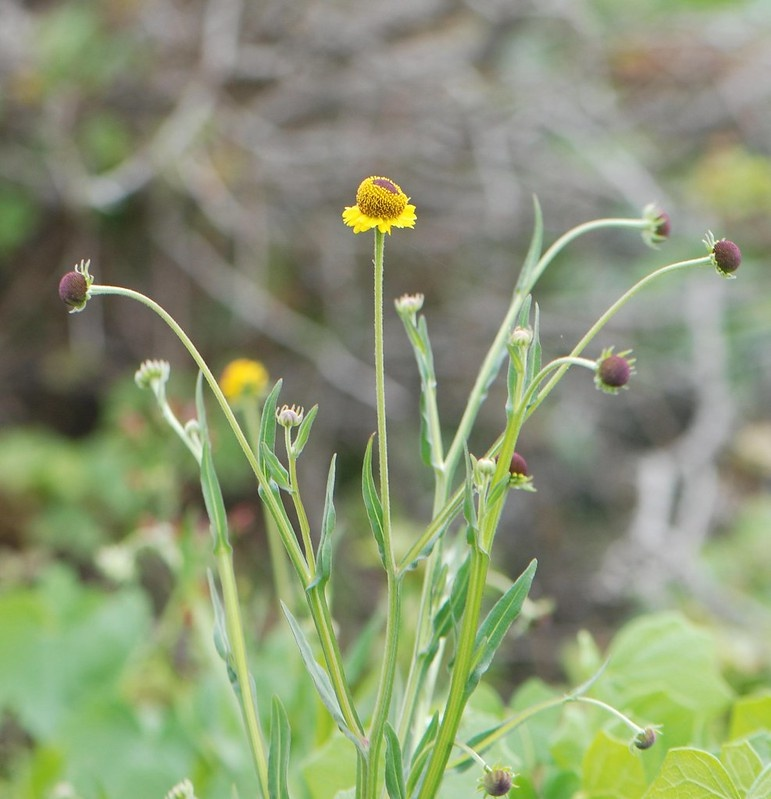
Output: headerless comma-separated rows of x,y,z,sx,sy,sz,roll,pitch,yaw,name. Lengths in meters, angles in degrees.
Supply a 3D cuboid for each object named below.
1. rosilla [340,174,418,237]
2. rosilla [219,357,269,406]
-0.004,-0.136,0.882,0.055,0.031,0.061,14,14,29,rosilla
-0.141,-0.017,1.292,0.047,0.062,0.030,-4,5,-12,rosilla
